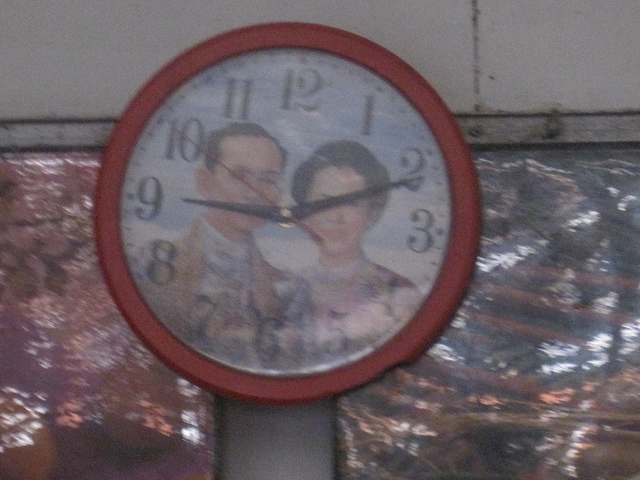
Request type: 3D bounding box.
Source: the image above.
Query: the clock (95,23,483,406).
[{"bbox_3d":[-0.068,-0.066,3.223,0.858,0.830,0.323,1,14,-8],"label":"clock"}]
